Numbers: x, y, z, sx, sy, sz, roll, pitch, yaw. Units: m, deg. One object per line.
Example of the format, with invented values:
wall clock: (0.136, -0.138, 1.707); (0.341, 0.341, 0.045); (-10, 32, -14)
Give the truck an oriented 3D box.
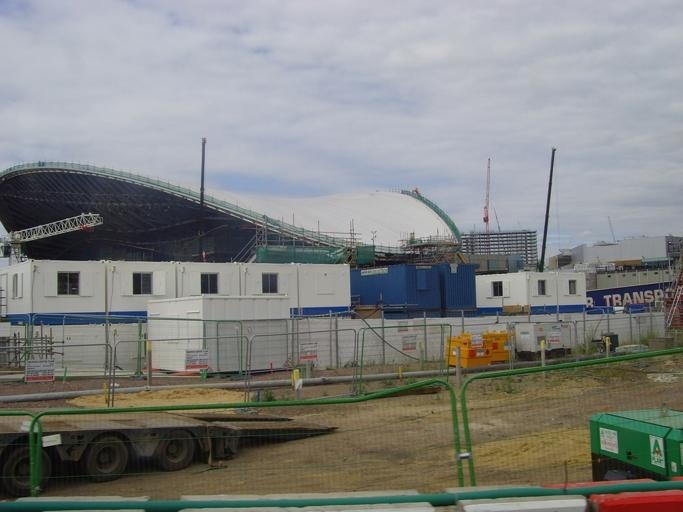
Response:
truck: (-5.303, 5.163, 30.619); (7.534, 1.997, 4.098); (-1, -5, -8)
